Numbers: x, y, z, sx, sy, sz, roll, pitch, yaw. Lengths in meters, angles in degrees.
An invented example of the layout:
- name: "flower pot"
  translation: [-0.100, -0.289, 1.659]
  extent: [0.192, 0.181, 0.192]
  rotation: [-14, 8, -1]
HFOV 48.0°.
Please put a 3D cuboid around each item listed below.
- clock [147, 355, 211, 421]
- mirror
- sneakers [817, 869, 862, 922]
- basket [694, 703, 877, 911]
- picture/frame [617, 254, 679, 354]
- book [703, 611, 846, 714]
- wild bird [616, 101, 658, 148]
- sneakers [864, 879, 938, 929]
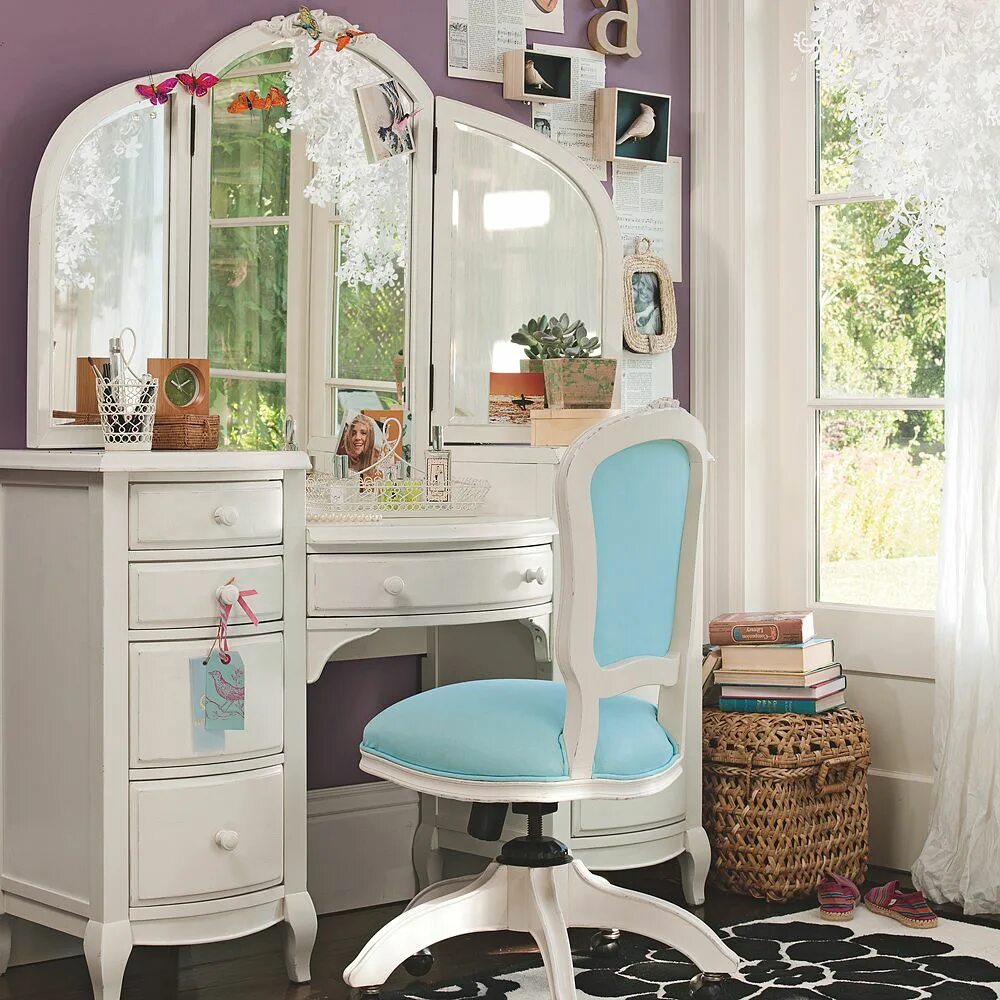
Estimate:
- name: "clock"
  translation: [-0.613, -0.213, 2.135]
  extent: [0.123, 0.135, 0.040]
  rotation: [1, -6, -38]
- name: "mirror"
  translation: [-0.414, -0.546, 2.408]
  extent: [1.026, 0.869, 0.056]
  rotation: [-4, 4, -37]
- name: "sneakers"
  translation: [0.728, 0.852, 2.394]
  extent: [0.046, 0.056, 0.124]
  rotation: [-1, -8, 8]
- name: "basket"
  translation: [0.712, 0.670, 2.629]
  extent: [0.377, 0.417, 0.357]
  rotation: [2, -4, -42]
- name: "picture/frame"
  translation: [0.382, -0.517, 2.969]
  extent: [0.255, 0.378, 0.040]
  rotation: [-3, 2, -45]
- name: "book"
  translation: [0.646, 0.350, 2.689]
  extent: [0.240, 0.175, 0.247]
  rotation: [-1, 0, 34]
- name: "wild bird"
  translation: [0.349, -0.999, 2.985]
  extent: [0.130, 0.128, 0.065]
  rotation: [-8, 3, 1]
- name: "sneakers"
  translation: [0.853, 0.848, 2.394]
  extent: [0.063, 0.058, 0.132]
  rotation: [-1, 0, -28]
